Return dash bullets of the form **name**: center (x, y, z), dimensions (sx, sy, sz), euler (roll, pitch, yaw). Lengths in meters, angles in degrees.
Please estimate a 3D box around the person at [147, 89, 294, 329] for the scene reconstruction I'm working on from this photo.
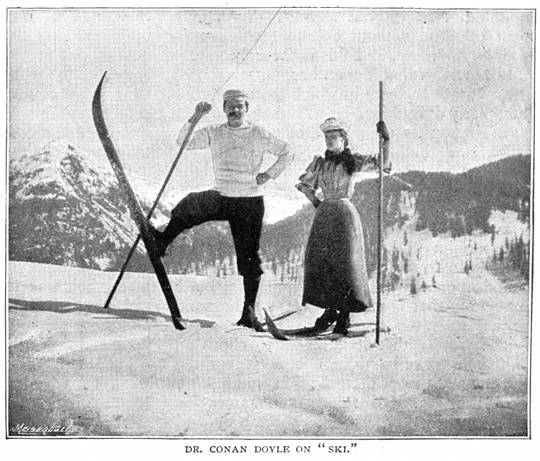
- **person**: center (-0.367, -0.164, 6.426), dimensions (1.027, 2.083, 0.388), euler (2, -29, -6)

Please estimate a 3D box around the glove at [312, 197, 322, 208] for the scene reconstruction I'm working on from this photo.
- **glove**: center (0.370, -0.224, 6.413), dimensions (0.072, 0.078, 0.020), euler (41, -10, -7)

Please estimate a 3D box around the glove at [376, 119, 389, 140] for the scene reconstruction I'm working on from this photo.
- **glove**: center (0.877, -0.785, 6.374), dimensions (0.094, 0.165, 0.161), euler (1, 0, 9)

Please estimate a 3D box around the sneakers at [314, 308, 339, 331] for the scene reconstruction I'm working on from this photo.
- **sneakers**: center (0.442, 0.709, 6.399), dimensions (0.118, 0.209, 0.051), euler (35, 8, -5)

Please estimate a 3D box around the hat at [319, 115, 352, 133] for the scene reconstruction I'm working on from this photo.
- **hat**: center (0.515, -0.827, 6.424), dimensions (0.147, 0.083, 0.130), euler (2, -6, -45)
